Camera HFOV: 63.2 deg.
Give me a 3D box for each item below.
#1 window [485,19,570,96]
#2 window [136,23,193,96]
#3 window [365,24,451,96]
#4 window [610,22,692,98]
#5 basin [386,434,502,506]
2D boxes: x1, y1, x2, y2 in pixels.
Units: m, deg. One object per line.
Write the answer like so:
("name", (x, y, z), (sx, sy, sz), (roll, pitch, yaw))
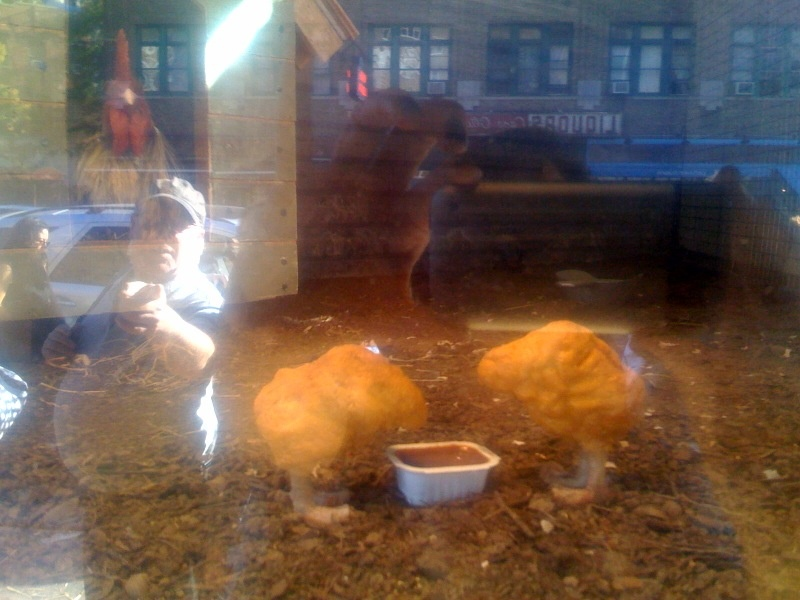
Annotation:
("window", (0.974, -1.735, 4.692), (0.654, 0.527, 0.370), (2, 14, 2))
("window", (-2.414, -2.447, 6.586), (0.479, 0.753, 1.128), (-4, 14, -20))
("window", (0.090, -1.727, 4.752), (0.698, 0.471, 0.047), (9, 23, 22))
("window", (1.989, -1.847, 5.046), (0.684, 0.556, 0.055), (19, 39, 41))
("basin", (0.203, 0.773, 2.909), (0.503, 0.191, 0.274), (0, 14, -4))
